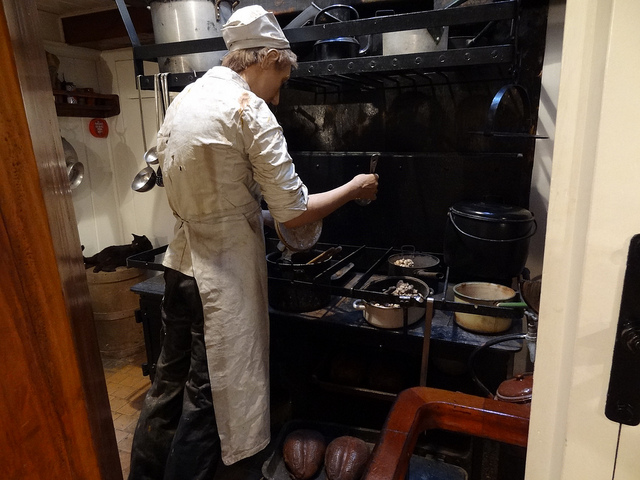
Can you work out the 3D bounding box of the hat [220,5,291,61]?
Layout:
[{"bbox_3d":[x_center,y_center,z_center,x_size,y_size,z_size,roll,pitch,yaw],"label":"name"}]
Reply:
[{"bbox_3d":[-0.210,-0.688,1.660,0.184,0.152,0.150,11,23,27],"label":"hat"}]

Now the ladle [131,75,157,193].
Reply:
[{"bbox_3d":[-1.053,-0.654,2.993,0.121,0.847,0.178,7,9,18],"label":"ladle"}]

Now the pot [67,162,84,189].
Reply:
[{"bbox_3d":[-1.639,-0.434,3.367,0.097,0.184,0.176,-11,18,-23],"label":"pot"}]

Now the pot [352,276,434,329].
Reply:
[{"bbox_3d":[0.259,0.227,1.861,0.337,0.183,0.277,2,18,18],"label":"pot"}]

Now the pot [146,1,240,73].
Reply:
[{"bbox_3d":[-0.517,-0.815,2.166,0.333,0.397,0.312,5,19,-2],"label":"pot"}]

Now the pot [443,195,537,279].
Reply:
[{"bbox_3d":[0.615,-0.019,1.852,0.271,0.264,0.287,1,11,0],"label":"pot"}]

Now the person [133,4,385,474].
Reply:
[{"bbox_3d":[-0.340,0.053,1.717,0.795,1.592,0.391,-11,18,-26],"label":"person"}]

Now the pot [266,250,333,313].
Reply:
[{"bbox_3d":[-0.086,0.176,1.944,0.230,0.184,0.242,0,7,0],"label":"pot"}]

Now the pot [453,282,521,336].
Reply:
[{"bbox_3d":[0.565,0.236,1.743,0.203,0.123,0.229,-3,13,-11],"label":"pot"}]

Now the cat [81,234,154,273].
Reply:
[{"bbox_3d":[-1.365,0.107,3.260,0.432,0.244,0.121,-1,-10,-3],"label":"cat"}]
